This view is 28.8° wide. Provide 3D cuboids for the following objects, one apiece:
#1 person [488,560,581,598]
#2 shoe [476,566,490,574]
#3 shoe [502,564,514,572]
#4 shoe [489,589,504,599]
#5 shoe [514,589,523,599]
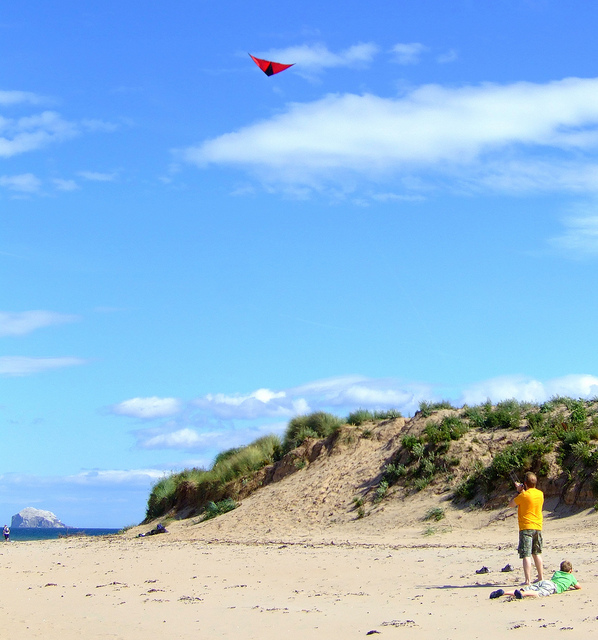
[{"bbox_3d":[4.372,4.753,21.176,1.742,0.575,0.633,-6,-1,-22],"label":"person"},{"bbox_3d":[3.668,4.990,23.276,0.200,0.085,0.150,1,-8,-8],"label":"shoe"},{"bbox_3d":[4.153,4.976,23.359,0.141,0.073,0.156,-4,6,9],"label":"shoe"},{"bbox_3d":[3.502,4.903,20.842,0.254,0.084,0.132,-18,-16,-1],"label":"shoe"},{"bbox_3d":[3.857,4.861,20.625,0.050,0.143,0.111,5,-32,-35],"label":"shoe"}]
